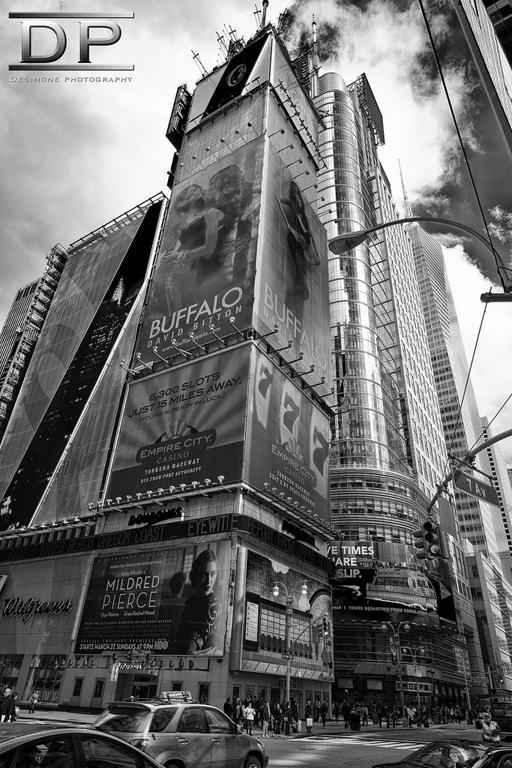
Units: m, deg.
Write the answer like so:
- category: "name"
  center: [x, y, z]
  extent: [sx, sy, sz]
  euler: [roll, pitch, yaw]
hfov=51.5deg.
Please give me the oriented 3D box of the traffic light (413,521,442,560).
- category: "traffic light"
  center: [4.811, 4.410, 14.692]
  extent: [0.597, 0.863, 1.219]
  euler: [2, -30, 6]
